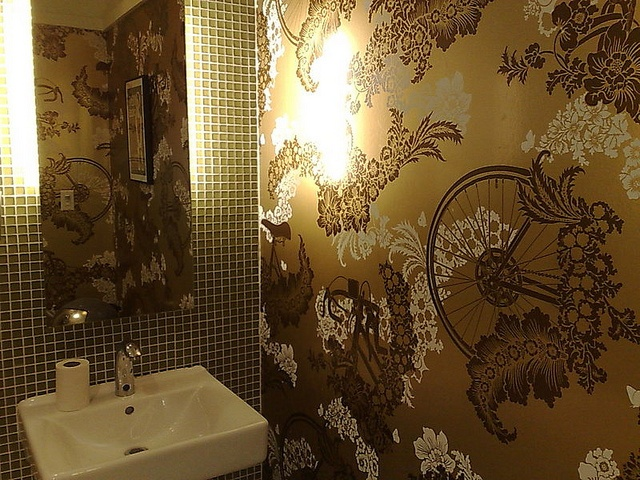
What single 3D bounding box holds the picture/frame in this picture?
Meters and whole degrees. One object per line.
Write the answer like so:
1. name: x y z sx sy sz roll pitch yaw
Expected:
1. picture/frame: -0.665 -0.412 1.911 0.044 0.574 0.268 -4 10 -27
